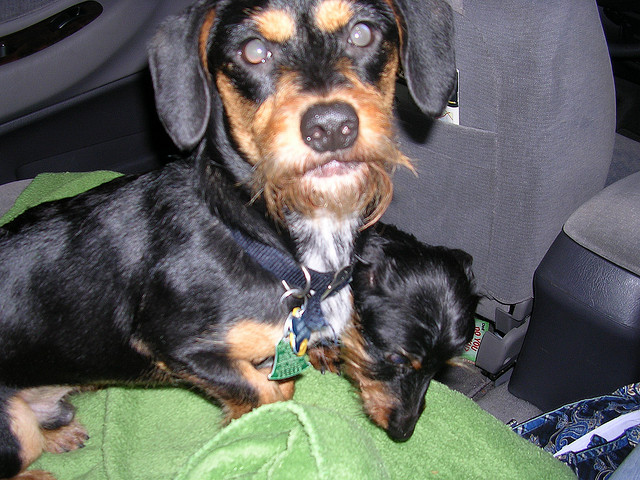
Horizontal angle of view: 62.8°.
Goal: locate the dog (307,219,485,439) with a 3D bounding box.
[{"bbox_3d":[0.330,0.160,2.461,0.610,0.387,1.279,-40,32,24],"label":"dog"}]
